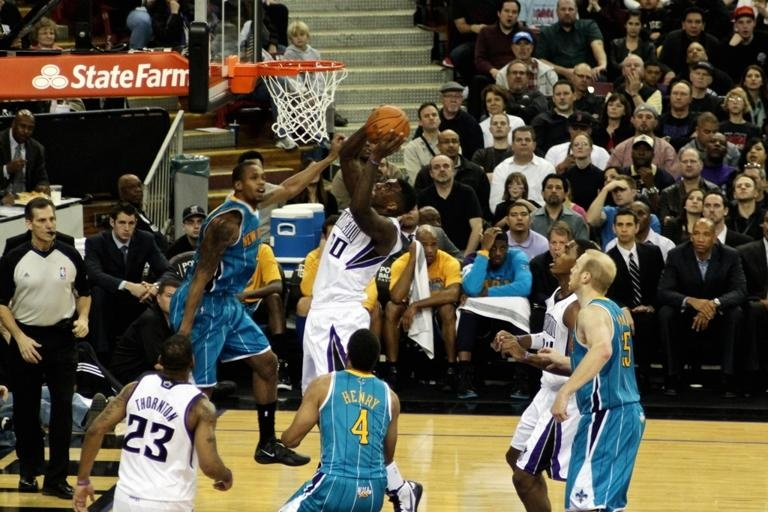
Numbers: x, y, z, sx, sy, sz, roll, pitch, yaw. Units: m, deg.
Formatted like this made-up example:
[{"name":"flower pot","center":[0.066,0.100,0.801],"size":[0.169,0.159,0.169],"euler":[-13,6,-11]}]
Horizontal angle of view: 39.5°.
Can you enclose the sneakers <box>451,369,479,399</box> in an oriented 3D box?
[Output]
[{"name":"sneakers","center":[0.913,1.356,11.529],"size":[0.240,0.313,0.197],"euler":[2,3,4]}]

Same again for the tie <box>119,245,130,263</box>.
[{"name":"tie","center":[-2.844,-0.034,11.767],"size":[0.089,0.179,0.039],"euler":[0,3,-17]}]

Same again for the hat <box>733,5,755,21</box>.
[{"name":"hat","center":[5.273,-3.525,15.589],"size":[0.341,0.200,0.516],"euler":[2,10,13]}]

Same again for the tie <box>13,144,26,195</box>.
[{"name":"tie","center":[-4.518,-1.090,13.273],"size":[0.159,0.607,0.229],"euler":[0,3,-19]}]

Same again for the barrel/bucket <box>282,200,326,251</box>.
[{"name":"barrel/bucket","center":[-0.878,-0.393,12.530],"size":[0.491,0.594,0.518],"euler":[2,9,0]}]

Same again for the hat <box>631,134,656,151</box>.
[{"name":"hat","center":[3.141,-1.376,12.855],"size":[0.260,0.180,0.473],"euler":[2,3,13]}]

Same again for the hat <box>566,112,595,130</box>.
[{"name":"hat","center":[2.508,-1.701,13.533],"size":[0.277,0.225,0.255],"euler":[2,3,4]}]

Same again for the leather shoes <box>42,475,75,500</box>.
[{"name":"leather shoes","center":[-2.925,2.067,9.728],"size":[0.391,0.186,0.187],"euler":[6,4,6]}]

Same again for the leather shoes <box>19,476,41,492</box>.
[{"name":"leather shoes","center":[-3.232,2.075,9.759],"size":[0.106,0.123,0.181],"euler":[4,23,-4]}]

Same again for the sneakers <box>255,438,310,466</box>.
[{"name":"sneakers","center":[-0.891,1.674,9.318],"size":[0.561,0.276,0.211],"euler":[1,1,2]}]

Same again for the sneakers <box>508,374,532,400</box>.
[{"name":"sneakers","center":[1.500,1.417,11.489],"size":[0.121,0.264,0.365],"euler":[0,-14,22]}]

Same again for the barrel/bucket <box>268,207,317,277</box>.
[{"name":"barrel/bucket","center":[-0.988,-0.198,12.215],"size":[0.658,0.782,0.696],"euler":[3,5,0]}]

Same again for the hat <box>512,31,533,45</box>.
[{"name":"hat","center":[1.960,-3.044,14.917],"size":[0.260,0.214,0.378],"euler":[2,3,18]}]

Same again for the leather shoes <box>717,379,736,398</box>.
[{"name":"leather shoes","center":[3.743,1.410,11.529],"size":[0.157,0.199,0.128],"euler":[2,3,17]}]

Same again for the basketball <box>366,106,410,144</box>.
[{"name":"basketball","center":[0.042,-1.089,8.865],"size":[0.351,0.325,0.340],"euler":[1,3,-4]}]

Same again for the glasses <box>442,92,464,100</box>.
[{"name":"glasses","center":[0.885,-2.046,13.692],"size":[0.232,0.103,0.100],"euler":[2,3,6]}]
